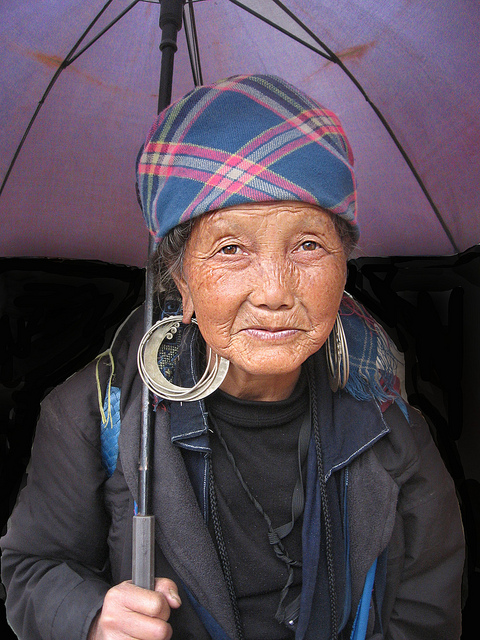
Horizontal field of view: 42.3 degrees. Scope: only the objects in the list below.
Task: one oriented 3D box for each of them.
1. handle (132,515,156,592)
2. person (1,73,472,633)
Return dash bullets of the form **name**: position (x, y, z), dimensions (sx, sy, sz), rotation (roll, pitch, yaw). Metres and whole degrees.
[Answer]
- **handle**: position (-0.248, 0.600, 1.590), dimensions (0.053, 0.164, 0.093), rotation (0, 18, -14)
- **person**: position (0.019, 0.151, 1.817), dimensions (1.421, 1.646, 0.783), rotation (1, 18, -14)
